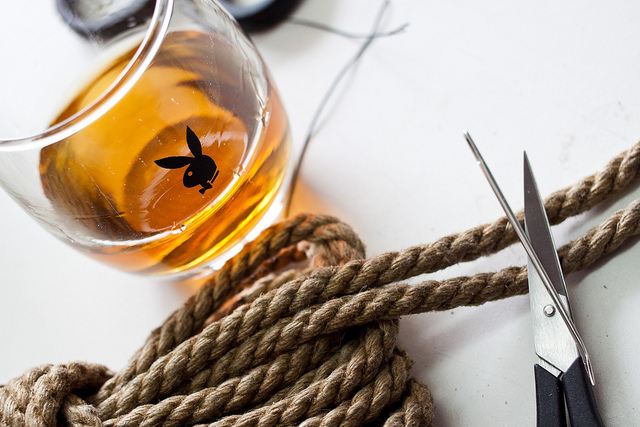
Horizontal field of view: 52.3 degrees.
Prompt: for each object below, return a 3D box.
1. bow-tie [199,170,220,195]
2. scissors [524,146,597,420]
[{"bbox_3d":[-0.162,-0.043,0.947,0.015,0.046,0.004,34,-2,-26],"label":"bow-tie"},{"bbox_3d":[0.317,0.110,0.942,0.083,0.351,0.154,-12,-31,20],"label":"scissors"}]
